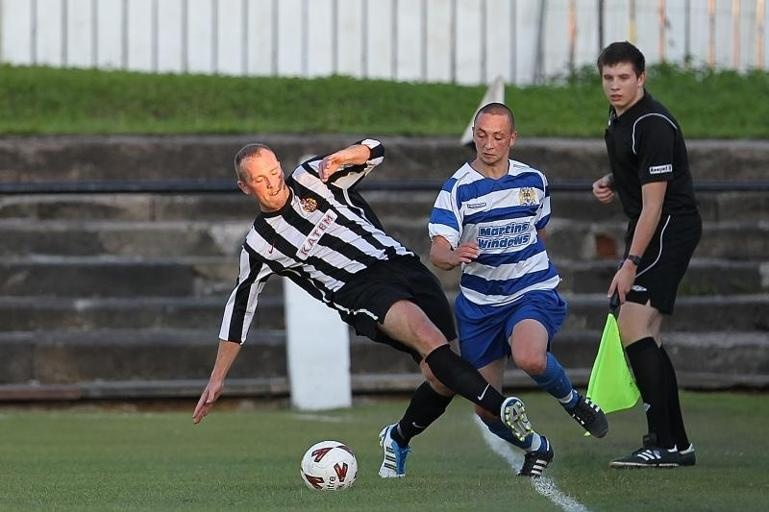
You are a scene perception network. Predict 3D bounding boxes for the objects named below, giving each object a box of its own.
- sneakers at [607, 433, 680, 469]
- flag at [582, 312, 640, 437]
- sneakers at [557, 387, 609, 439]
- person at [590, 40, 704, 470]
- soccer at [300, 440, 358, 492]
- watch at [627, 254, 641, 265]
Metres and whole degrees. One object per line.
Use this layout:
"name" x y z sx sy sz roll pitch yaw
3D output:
"sneakers" 2.086 1.575 13.915 0.556 0.258 0.124 -1 3 2
"flag" 1.817 0.949 13.896 0.393 1.013 0.411 0 0 2
"sneakers" 1.581 1.264 13.702 0.558 0.205 0.224 44 18 15
"person" 2.107 0.043 14.144 0.800 3.445 1.129 -4 -10 17
"soccer" -0.408 1.669 13.581 0.377 0.384 0.370 9 -8 5
"watch" 1.978 0.043 13.773 0.083 0.034 0.080 41 -23 -17
